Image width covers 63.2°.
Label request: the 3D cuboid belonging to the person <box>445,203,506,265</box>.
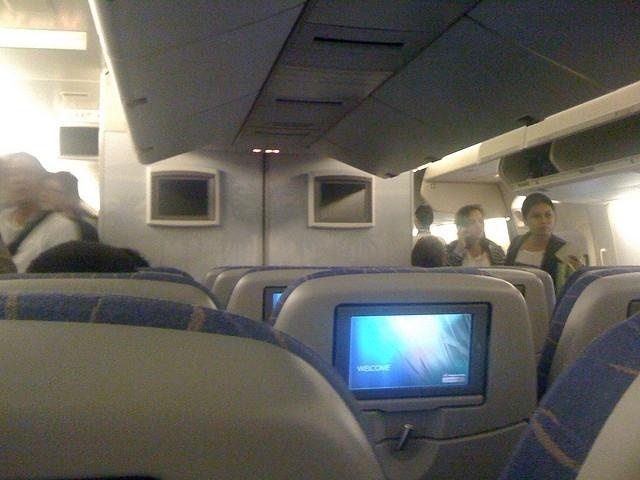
[{"bbox_3d":[1.590,-0.097,5.271,0.775,0.710,0.417,-3,-1,-7],"label":"person"}]

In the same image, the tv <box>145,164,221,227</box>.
[{"bbox_3d":[-1.143,-0.361,4.256,0.557,0.437,0.058,0,-1,-28],"label":"tv"}]

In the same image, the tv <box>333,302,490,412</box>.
[{"bbox_3d":[0.217,0.279,1.301,0.314,0.183,0.031,-1,9,-6],"label":"tv"}]

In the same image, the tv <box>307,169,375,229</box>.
[{"bbox_3d":[0.170,-0.375,4.662,0.559,0.444,0.063,0,3,-8],"label":"tv"}]
